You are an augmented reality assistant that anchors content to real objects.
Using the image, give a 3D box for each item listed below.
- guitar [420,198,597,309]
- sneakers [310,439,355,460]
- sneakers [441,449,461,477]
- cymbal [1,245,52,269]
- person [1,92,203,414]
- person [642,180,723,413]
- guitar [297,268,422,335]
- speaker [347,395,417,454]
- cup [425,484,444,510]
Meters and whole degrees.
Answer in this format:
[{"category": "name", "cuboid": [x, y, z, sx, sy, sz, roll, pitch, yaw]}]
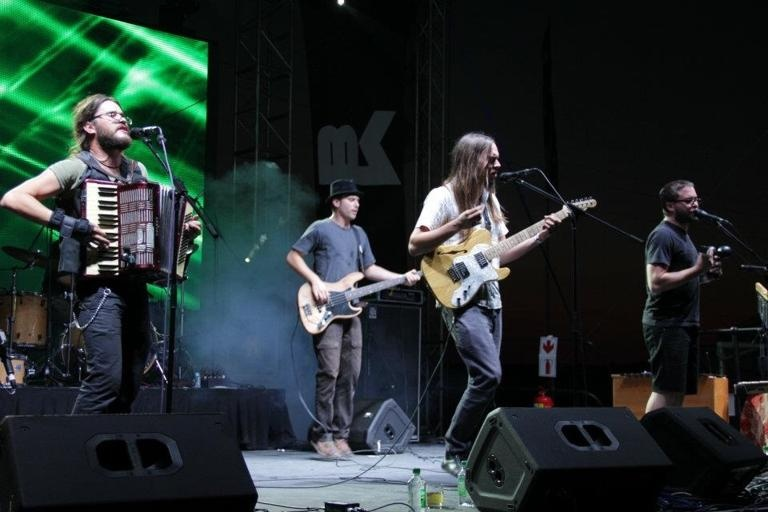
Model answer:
[{"category": "guitar", "cuboid": [0.751, 0.095, 5.733, 0.888, 0.659, 0.191, 0, -7, -5]}, {"category": "sneakers", "cuboid": [-0.524, 2.005, 7.447, 0.489, 0.215, 0.155, -17, -24, 40]}, {"category": "sneakers", "cuboid": [0.526, 1.581, 5.551, 0.097, 0.188, 0.219, 3, -8, -27]}, {"category": "cymbal", "cuboid": [-4.282, 0.014, 8.674, 0.381, 0.083, 0.381, 2, -22, 14]}, {"category": "person", "cuboid": [-2.088, -0.065, 5.181, 0.993, 2.355, 0.497, 3, -8, -28]}, {"category": "person", "cuboid": [2.465, 0.291, 6.039, 0.622, 1.938, 0.601, -4, -8, 23]}, {"category": "guitar", "cuboid": [-0.428, 0.466, 7.520, 1.608, 0.539, 0.193, -18, 2, -30]}, {"category": "speaker", "cuboid": [-0.028, 1.773, 7.726, 0.567, 0.452, 0.607, 2, -13, -22]}, {"category": "cup", "cuboid": [0.354, 1.696, 5.083, 0.152, 0.094, 0.151, 6, -28, 3]}]
